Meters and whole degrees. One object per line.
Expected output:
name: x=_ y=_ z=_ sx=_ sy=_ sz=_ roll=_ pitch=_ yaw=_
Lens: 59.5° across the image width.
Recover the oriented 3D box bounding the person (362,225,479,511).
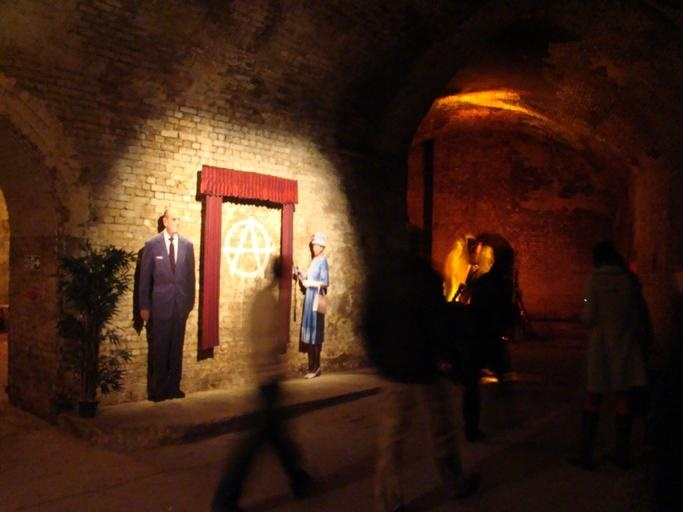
person: x=0.787 y=1.233 z=6.611 sx=1.136 sy=3.116 sz=0.405 roll=-3 pitch=9 yaw=-17

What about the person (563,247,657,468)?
person: x=3.094 y=1.207 z=6.735 sx=0.704 sy=2.700 sz=0.421 roll=4 pitch=10 yaw=29

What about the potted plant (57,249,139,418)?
potted plant: x=-3.643 y=1.003 z=8.938 sx=0.741 sy=2.397 sz=1.071 roll=5 pitch=10 yaw=34
